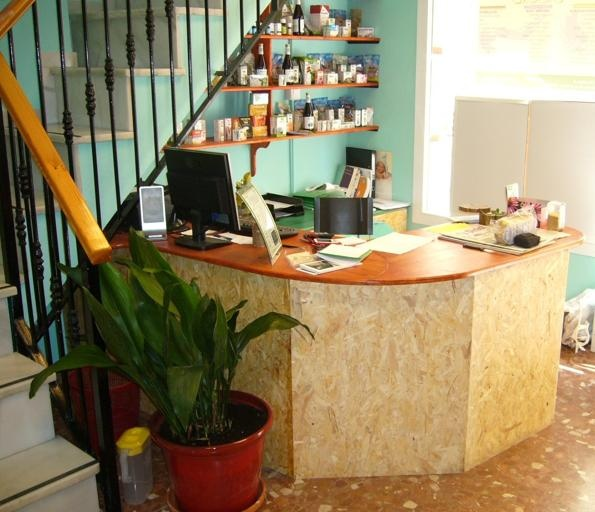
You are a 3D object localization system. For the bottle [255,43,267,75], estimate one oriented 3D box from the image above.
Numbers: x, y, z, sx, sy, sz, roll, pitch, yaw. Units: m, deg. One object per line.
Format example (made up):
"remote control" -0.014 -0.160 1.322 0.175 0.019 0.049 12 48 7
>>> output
"bottle" -0.300 -1.620 4.247 0.097 0.261 0.109 -1 11 -5

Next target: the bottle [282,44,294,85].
"bottle" -0.081 -1.657 4.461 0.093 0.332 0.203 0 11 0

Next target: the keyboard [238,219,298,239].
"keyboard" -0.168 -0.150 2.900 0.241 0.037 0.141 8 18 20

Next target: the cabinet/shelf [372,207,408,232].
"cabinet/shelf" 0.903 -0.348 4.985 0.506 0.239 0.085 -11 15 -42

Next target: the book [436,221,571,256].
"book" 1.082 -0.128 2.752 0.505 0.122 0.549 11 16 44

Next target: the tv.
"tv" -0.500 -0.279 2.658 0.431 0.466 0.184 17 24 36

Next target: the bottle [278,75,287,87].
"bottle" -0.125 -1.500 4.386 0.073 0.096 0.054 -4 12 -17

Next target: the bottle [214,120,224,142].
"bottle" -0.626 -1.017 4.185 0.087 0.171 0.152 -2 11 -9

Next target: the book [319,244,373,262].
"book" 0.228 -0.022 2.459 0.119 0.025 0.132 12 25 29
